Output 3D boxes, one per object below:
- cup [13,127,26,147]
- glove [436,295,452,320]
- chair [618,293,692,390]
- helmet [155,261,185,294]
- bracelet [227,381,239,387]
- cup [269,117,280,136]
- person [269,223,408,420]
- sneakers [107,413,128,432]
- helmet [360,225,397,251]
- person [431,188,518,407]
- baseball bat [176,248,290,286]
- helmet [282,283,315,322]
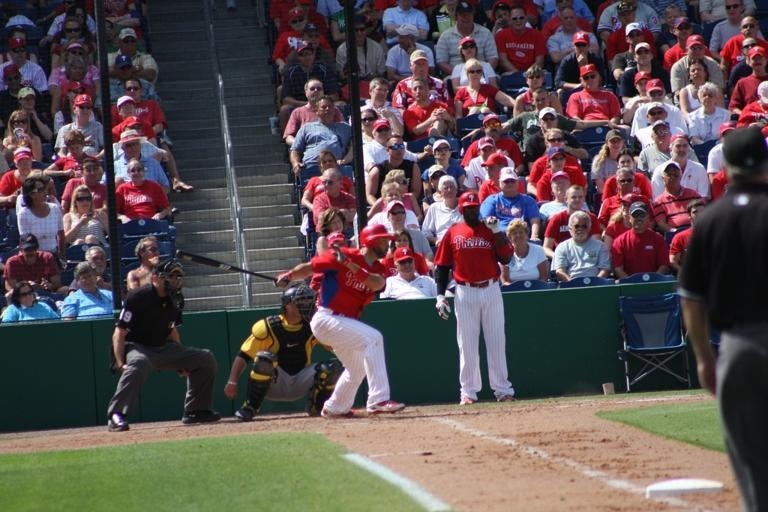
[{"bbox_3d":[-5.715,-1.847,25.805,0.164,0.321,0.076,-2,-18,-14],"label":"cup"},{"bbox_3d":[0.821,0.738,22.968,0.138,0.304,0.225,-20,2,-12],"label":"glove"},{"bbox_3d":[3.837,1.246,23.286,1.208,1.320,1.174,-2,-2,-24],"label":"chair"},{"bbox_3d":[-2.885,0.309,22.074,0.350,0.406,0.416,2,-15,-39],"label":"helmet"},{"bbox_3d":[-2.087,1.769,22.439,0.080,0.056,0.081,1,-2,42],"label":"bracelet"},{"bbox_3d":[-1.784,-2.069,26.616,0.132,0.422,0.146,-9,-23,4],"label":"cup"},{"bbox_3d":[-0.431,0.886,21.718,1.061,2.526,0.730,-2,-2,0],"label":"person"},{"bbox_3d":[-3.619,2.278,22.227,0.152,0.151,0.351,2,-7,-27],"label":"sneakers"},{"bbox_3d":[-0.116,-0.232,21.725,0.370,0.186,0.275,-8,2,2],"label":"helmet"},{"bbox_3d":[1.238,0.609,22.696,1.041,2.914,0.593,-2,-2,2],"label":"person"},{"bbox_3d":[-2.187,0.200,23.701,1.183,0.154,0.162,20,24,-29],"label":"baseball bat"},{"bbox_3d":[-1.120,0.645,22.126,0.469,0.436,0.433,-2,1,25],"label":"helmet"}]
